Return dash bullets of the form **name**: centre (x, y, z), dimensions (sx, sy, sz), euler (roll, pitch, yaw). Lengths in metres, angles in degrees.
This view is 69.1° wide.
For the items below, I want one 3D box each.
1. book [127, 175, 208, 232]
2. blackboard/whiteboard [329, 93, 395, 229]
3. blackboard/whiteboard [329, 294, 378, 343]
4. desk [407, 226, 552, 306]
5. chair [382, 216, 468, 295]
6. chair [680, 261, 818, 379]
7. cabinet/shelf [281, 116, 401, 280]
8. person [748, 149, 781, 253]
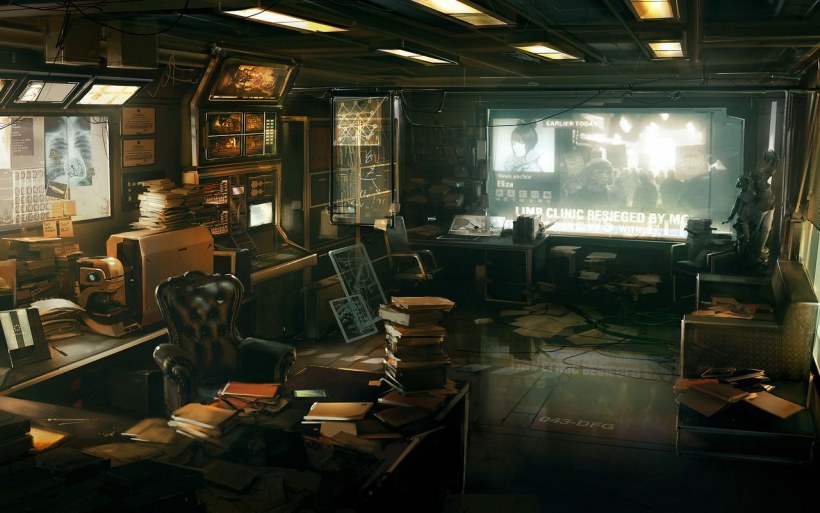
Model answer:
- **book**: centre (-2.696, -0.573, 6.778), dimensions (0.796, 0.468, 0.869), euler (0, 3, 26)
- **blackboard/whiteboard**: centre (-0.740, -1.340, 8.472), dimensions (0.929, 1.778, 0.443), euler (-5, 11, -6)
- **blackboard/whiteboard**: centre (-0.898, 0.964, 9.331), dimensions (0.831, 0.675, 0.157), euler (-20, -17, -36)
- **desk**: centre (0.920, 0.311, 11.061), dimensions (3.088, 0.905, 1.500), euler (0, 1, 18)
- **chair**: centre (0.085, 0.119, 10.112), dimensions (1.195, 1.123, 1.133), euler (-4, 14, -39)
- **chair**: centre (4.090, 0.699, 7.255), dimensions (1.361, 1.173, 1.964), euler (1, 10, 23)
- **cabinet/shelf**: centre (-1.171, -0.975, 9.990), dimensions (1.957, 3.103, 0.631), euler (-23, 44, -38)
- **person**: centre (5.347, -0.770, 9.033), dimensions (0.340, 1.619, 0.830), euler (2, 12, 29)
